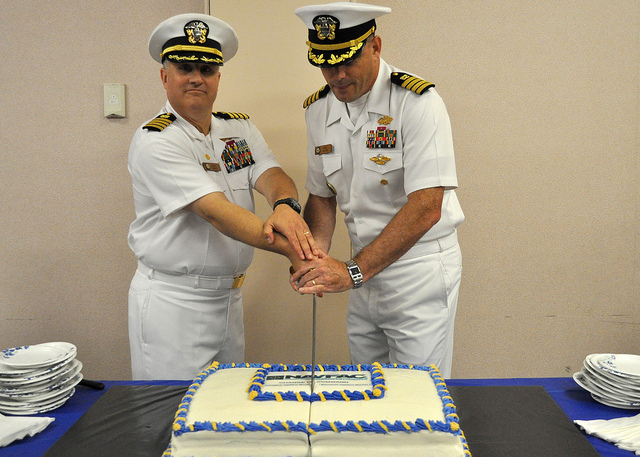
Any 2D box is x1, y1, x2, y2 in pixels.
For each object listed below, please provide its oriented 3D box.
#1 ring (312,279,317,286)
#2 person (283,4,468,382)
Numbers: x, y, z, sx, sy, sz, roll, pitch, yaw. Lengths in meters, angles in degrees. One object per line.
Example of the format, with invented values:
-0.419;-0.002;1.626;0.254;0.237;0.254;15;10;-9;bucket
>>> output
-0.029;0.262;3.398;0.008;0.026;0.019;-5;9;-43;ring
0.289;-0.143;3.558;0.877;1.912;0.781;2;6;10;person
